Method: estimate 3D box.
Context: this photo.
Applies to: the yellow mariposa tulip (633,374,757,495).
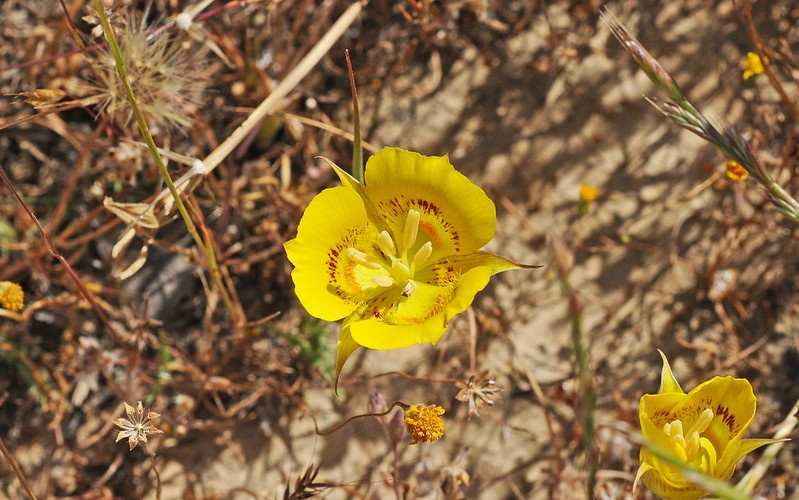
[{"bbox_3d":[1.565,1.006,4.140,0.605,0.278,0.715,8,86,0],"label":"yellow mariposa tulip"}]
